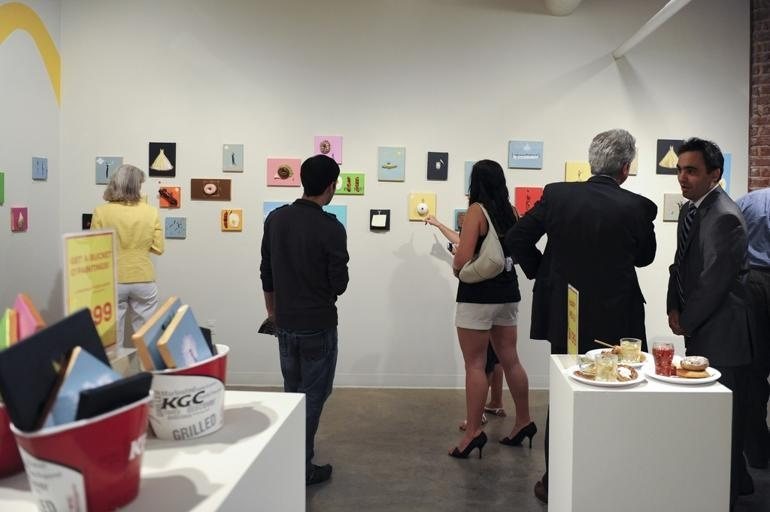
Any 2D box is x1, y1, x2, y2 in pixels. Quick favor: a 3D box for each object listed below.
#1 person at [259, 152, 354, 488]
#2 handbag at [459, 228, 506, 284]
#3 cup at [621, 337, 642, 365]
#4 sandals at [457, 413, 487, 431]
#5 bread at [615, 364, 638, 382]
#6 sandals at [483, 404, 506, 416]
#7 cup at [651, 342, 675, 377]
[{"bbox_3d":[-0.527,0.426,3.713,0.450,2.142,0.513,-7,14,-33],"label":"person"},{"bbox_3d":[0.680,0.027,4.064,0.307,0.593,0.381,4,-7,5],"label":"handbag"},{"bbox_3d":[1.290,0.502,2.991,0.112,0.131,0.113,1,3,0],"label":"cup"},{"bbox_3d":[0.687,1.328,4.465,0.156,0.126,0.313,-6,-18,27],"label":"sandals"},{"bbox_3d":[1.188,0.569,2.765,0.070,0.032,0.080,1,5,1],"label":"bread"},{"bbox_3d":[0.919,1.266,4.681,0.154,0.064,0.079,6,-2,41],"label":"sandals"},{"bbox_3d":[1.364,0.519,2.794,0.099,0.166,0.103,-9,-14,-2],"label":"cup"}]
